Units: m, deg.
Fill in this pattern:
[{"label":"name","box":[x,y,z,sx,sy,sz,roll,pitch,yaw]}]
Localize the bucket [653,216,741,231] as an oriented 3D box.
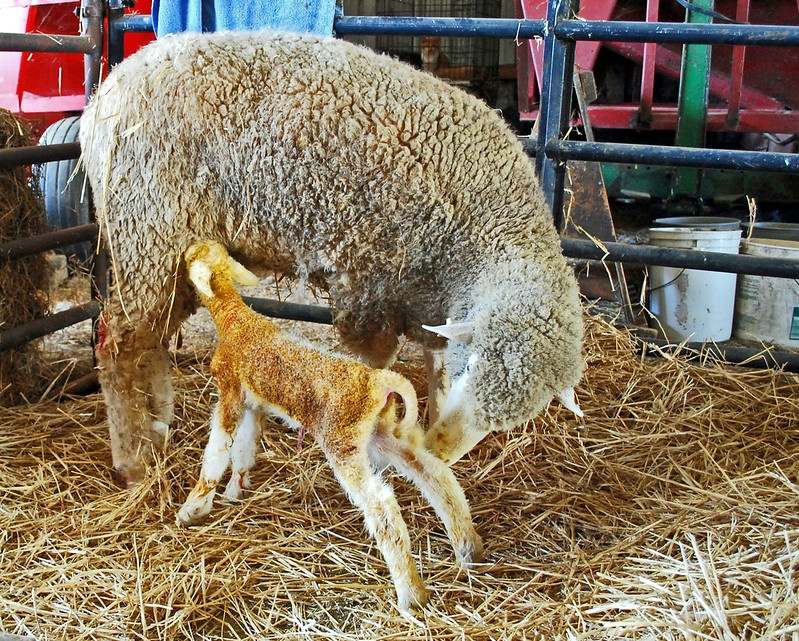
[{"label":"bucket","box":[1.862,-0.610,5.523,0.314,0.080,0.278,-1,5,-11]}]
